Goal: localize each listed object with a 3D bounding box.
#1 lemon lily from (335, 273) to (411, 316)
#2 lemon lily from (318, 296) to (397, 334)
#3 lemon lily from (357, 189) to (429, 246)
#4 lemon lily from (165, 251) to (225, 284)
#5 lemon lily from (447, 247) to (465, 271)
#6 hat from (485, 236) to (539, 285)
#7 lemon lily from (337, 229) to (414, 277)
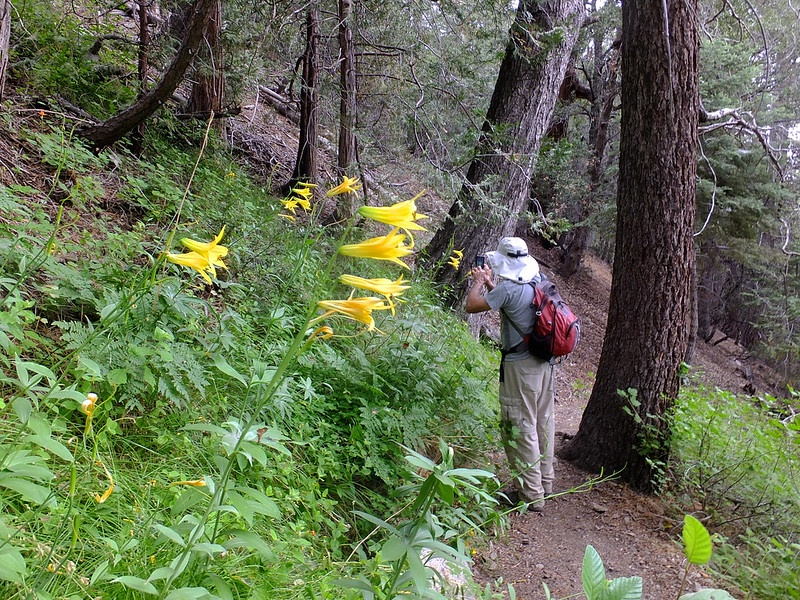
[{"bbox_3d":[-0.155,-0.070,3.550,0.316,0.204,0.204,12,-17,-9],"label":"lemon lily"},{"bbox_3d":[-0.269,0.049,3.465,0.332,0.181,0.244,17,-13,-4],"label":"lemon lily"},{"bbox_3d":[-0.040,-0.495,3.611,0.362,0.276,0.290,9,2,-10],"label":"lemon lily"},{"bbox_3d":[-1.418,-0.225,4.146,0.324,0.133,0.229,9,7,-8],"label":"lemon lily"},{"bbox_3d":[0.635,-0.443,6.675,0.210,0.216,0.440,7,8,5],"label":"lemon lily"},{"bbox_3d":[1.155,-0.408,6.254,0.456,0.272,0.468,3,10,-27],"label":"hat"},{"bbox_3d":[-0.144,-0.257,3.480,0.397,0.249,0.242,-3,41,-18],"label":"lemon lily"}]
